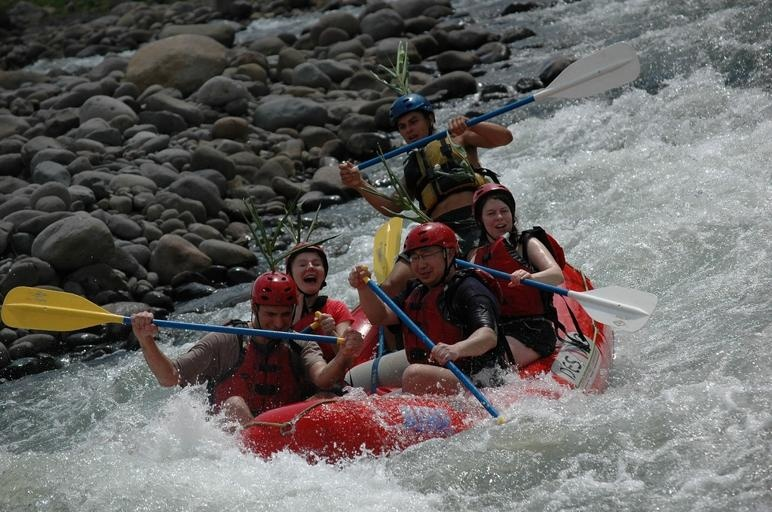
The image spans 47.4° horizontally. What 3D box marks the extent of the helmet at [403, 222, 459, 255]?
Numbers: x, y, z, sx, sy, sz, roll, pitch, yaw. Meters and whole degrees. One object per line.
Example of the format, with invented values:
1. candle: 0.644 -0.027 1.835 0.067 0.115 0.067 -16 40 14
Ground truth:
1. helmet: 0.371 -0.179 7.570 0.484 0.266 0.341 -15 15 -34

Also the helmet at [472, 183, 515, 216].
1. helmet: 0.945 -0.564 8.012 0.238 0.326 0.239 -1 17 -1

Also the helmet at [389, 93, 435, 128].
1. helmet: 0.317 -1.506 8.931 0.447 0.272 0.347 -7 -6 -23

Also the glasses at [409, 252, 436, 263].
1. glasses: 0.276 0.002 7.456 0.103 0.105 0.032 -13 62 27
